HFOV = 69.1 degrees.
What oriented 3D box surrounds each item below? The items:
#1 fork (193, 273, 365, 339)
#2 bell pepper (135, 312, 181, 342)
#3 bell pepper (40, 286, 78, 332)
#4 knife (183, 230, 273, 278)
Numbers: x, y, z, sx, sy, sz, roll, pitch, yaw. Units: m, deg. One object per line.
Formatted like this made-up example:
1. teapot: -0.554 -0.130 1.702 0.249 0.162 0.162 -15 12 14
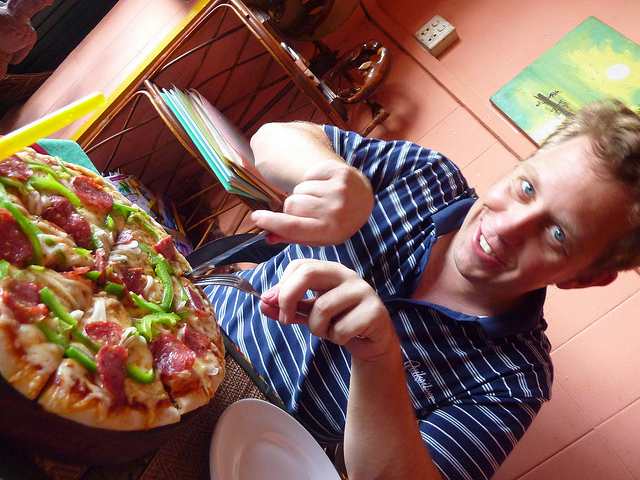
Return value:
1. fork: -0.091 0.162 1.105 0.394 0.048 0.047 26 -15 3
2. bell pepper: -0.310 0.161 0.856 0.055 0.015 0.044 -6 74 -32
3. bell pepper: -0.441 0.114 0.778 0.056 0.069 0.045 13 15 -23
4. knife: -0.235 0.040 1.206 0.029 0.251 0.025 44 -19 26
